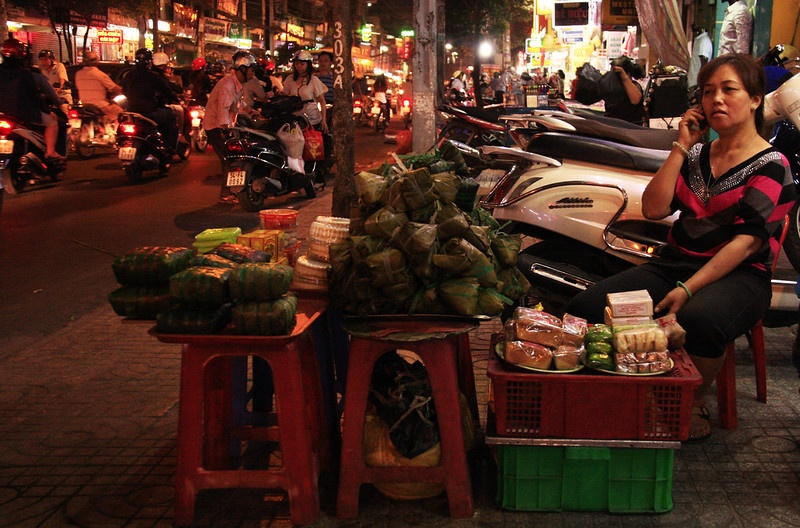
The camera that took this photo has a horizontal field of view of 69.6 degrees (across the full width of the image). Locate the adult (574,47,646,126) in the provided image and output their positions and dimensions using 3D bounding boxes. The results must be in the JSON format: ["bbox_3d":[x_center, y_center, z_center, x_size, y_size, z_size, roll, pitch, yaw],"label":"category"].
[{"bbox_3d":[3.328,-2.603,9.014,0.910,1.361,0.707,-13,31,33],"label":"adult"}]

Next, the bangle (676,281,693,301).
[{"bbox_3d":[1.726,0.159,3.491,0.026,0.099,0.102,-44,-3,2],"label":"bangle"}]

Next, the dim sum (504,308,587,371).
[{"bbox_3d":[0.788,0.417,3.134,0.340,0.203,0.431,10,6,2],"label":"dim sum"}]

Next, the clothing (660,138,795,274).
[{"bbox_3d":[2.024,-0.359,3.593,0.522,0.813,0.876,1,16,-36],"label":"clothing"}]

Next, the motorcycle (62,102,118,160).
[{"bbox_3d":[-8.653,-3.560,15.904,0.960,1.383,2.361,-3,1,-14],"label":"motorcycle"}]

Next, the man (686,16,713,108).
[{"bbox_3d":[6.002,-3.799,11.446,0.468,1.896,0.933,1,29,26],"label":"man"}]

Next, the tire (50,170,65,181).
[{"bbox_3d":[-7.368,-1.893,12.370,0.210,0.199,0.201,2,47,-1],"label":"tire"}]

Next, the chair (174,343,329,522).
[{"bbox_3d":[-0.810,0.812,3.290,0.766,1.030,0.765,1,14,0],"label":"chair"}]

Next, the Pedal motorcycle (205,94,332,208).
[{"bbox_3d":[-2.336,-2.085,10.680,1.260,1.864,3.292,2,17,9],"label":"Pedal motorcycle"}]

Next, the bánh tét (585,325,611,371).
[{"bbox_3d":[1.072,0.449,3.099,0.128,0.073,0.227,-2,41,6],"label":"bánh tét"}]

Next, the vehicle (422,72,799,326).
[{"bbox_3d":[2.135,-0.565,5.389,3.247,2.003,1.523,-1,9,6],"label":"vehicle"}]

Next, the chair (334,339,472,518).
[{"bbox_3d":[0.037,0.788,3.328,0.894,1.155,0.907,0,15,3],"label":"chair"}]

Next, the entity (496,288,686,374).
[{"bbox_3d":[1.020,0.407,3.105,0.661,0.189,0.553,0,10,5],"label":"entity"}]

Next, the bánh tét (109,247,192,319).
[{"bbox_3d":[-1.403,0.109,3.111,0.503,0.361,0.377,-4,-16,27],"label":"bánh tét"}]

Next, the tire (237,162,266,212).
[{"bbox_3d":[-2.480,-1.278,9.753,0.280,0.803,0.650,6,15,21],"label":"tire"}]

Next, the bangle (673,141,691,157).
[{"bbox_3d":[1.811,-0.730,3.688,0.111,0.030,0.093,36,5,17],"label":"bangle"}]
